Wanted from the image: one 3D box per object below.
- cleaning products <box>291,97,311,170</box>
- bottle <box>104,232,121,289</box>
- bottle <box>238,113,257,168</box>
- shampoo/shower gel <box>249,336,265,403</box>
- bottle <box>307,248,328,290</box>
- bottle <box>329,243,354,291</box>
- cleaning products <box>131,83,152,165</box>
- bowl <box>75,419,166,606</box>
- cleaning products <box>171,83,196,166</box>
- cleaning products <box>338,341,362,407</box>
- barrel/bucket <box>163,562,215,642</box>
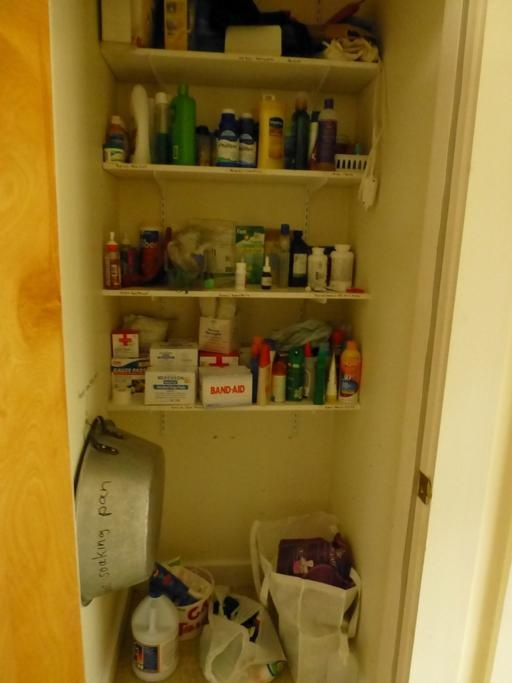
[{"bbox_3d":[0.138,-0.632,1.863,0.057,0.259,0.062,-17,43,-17],"label":"cleaning products"},{"bbox_3d":[-0.429,-0.242,1.764,0.048,0.161,0.098,-3,12,-16],"label":"bottle"},{"bbox_3d":[-0.025,-0.610,1.817,0.059,0.154,0.063,1,32,0],"label":"bottle"},{"bbox_3d":[0.016,0.094,1.881,0.033,0.205,0.035,3,-1,1],"label":"shampoo/shower gel"},{"bbox_3d":[0.201,-0.245,1.941,0.086,0.128,0.092,-3,21,1],"label":"bottle"},{"bbox_3d":[0.278,-0.243,1.936,0.073,0.144,0.082,5,15,14],"label":"bottle"},{"bbox_3d":[-0.334,-0.626,1.714,0.053,0.222,0.070,-3,11,-13],"label":"cleaning products"},{"bbox_3d":[-0.329,0.407,1.473,0.197,0.367,0.399,-2,12,-10],"label":"bowl"},{"bbox_3d":[-0.215,-0.631,1.736,0.068,0.220,0.047,-1,11,-2],"label":"cleaning products"},{"bbox_3d":[0.298,0.096,1.887,0.065,0.202,0.047,3,20,9],"label":"cleaning products"},{"bbox_3d":[-0.239,0.859,2.071,0.191,0.224,0.182,2,7,0],"label":"barrel/bucket"}]
